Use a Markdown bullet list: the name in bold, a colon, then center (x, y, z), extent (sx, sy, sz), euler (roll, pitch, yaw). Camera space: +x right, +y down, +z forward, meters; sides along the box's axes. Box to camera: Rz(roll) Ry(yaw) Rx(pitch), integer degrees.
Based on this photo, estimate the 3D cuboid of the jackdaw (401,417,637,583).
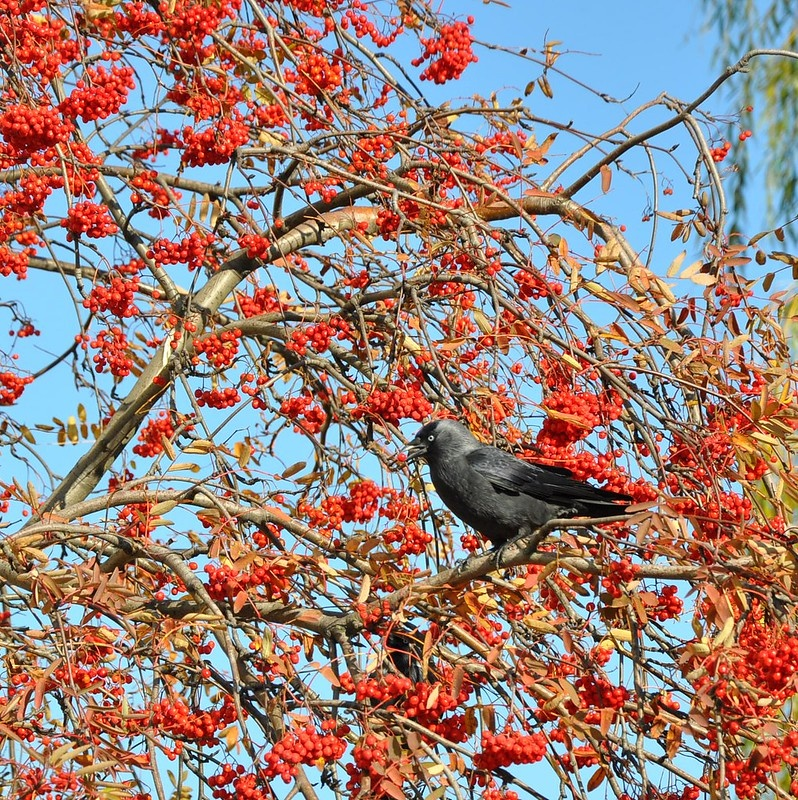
- **jackdaw**: center (0.491, 0.335, 8.732), extent (1.025, 0.595, 0.347), euler (-5, -2, -25)
